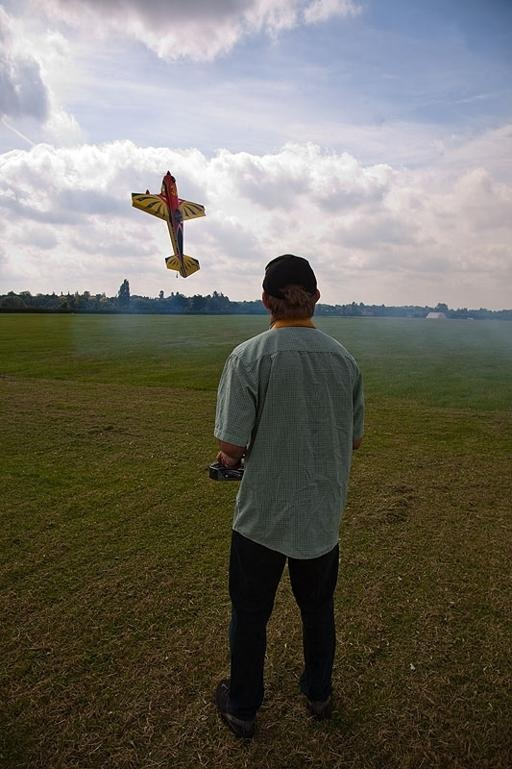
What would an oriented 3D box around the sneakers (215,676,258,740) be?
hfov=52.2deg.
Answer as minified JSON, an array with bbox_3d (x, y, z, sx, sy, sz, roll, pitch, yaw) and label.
[{"bbox_3d":[-0.099,1.531,2.492,0.107,0.133,0.298,4,9,-15],"label":"sneakers"}]

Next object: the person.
[{"bbox_3d":[0.129,0.499,2.496,0.665,2.176,0.662,-2,11,-17],"label":"person"}]
